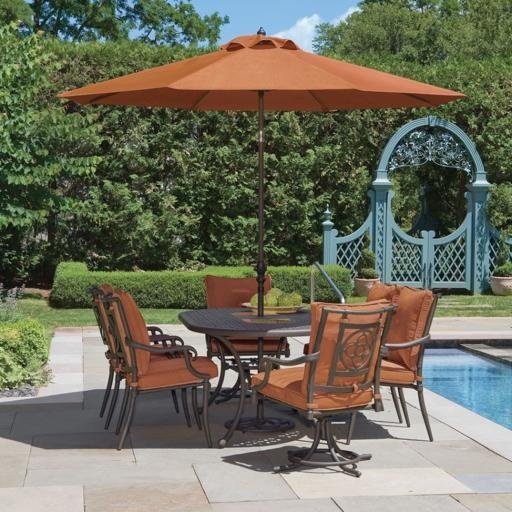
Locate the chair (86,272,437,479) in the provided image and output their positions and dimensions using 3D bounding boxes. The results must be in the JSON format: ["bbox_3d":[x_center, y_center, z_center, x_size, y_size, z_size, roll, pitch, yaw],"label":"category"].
[{"bbox_3d":[0.219,0.777,5.442,2.432,1.144,2.654,3,3,28],"label":"chair"}]

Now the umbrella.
[{"bbox_3d":[0.013,-0.807,5.651,3.098,1.800,2.552,0,10,-3],"label":"umbrella"}]
